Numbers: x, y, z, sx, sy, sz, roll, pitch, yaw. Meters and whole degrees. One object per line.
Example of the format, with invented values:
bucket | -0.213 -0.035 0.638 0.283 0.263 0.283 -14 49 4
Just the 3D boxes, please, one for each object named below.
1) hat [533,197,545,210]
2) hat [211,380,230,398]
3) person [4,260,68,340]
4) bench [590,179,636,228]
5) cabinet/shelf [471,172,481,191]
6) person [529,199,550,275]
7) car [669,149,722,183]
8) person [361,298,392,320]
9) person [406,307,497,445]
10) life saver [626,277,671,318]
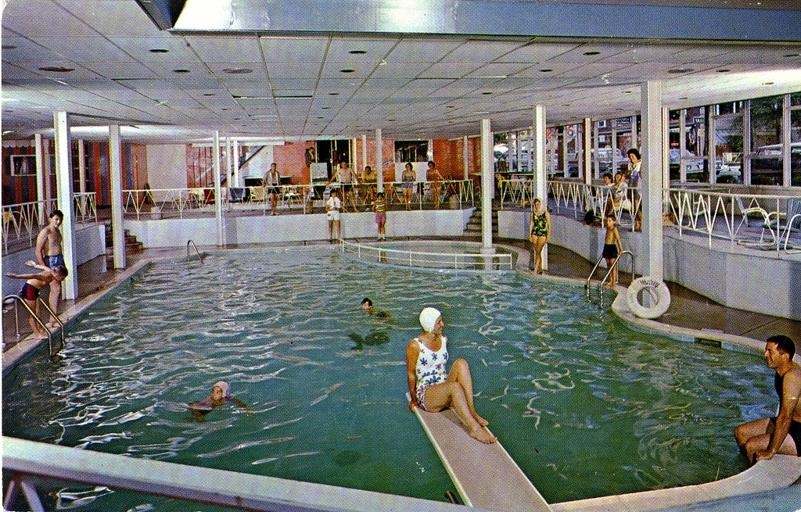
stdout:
hat | 3.401 -1.277 12.893 0.254 0.304 0.361 4 9 13
hat | -2.395 1.812 7.014 0.163 0.166 0.189 0 -24 7
person | -6.658 0.858 9.609 0.980 1.174 1.195 -2 13 -7
bench | 5.521 -1.613 14.247 0.573 1.293 0.704 6 -7 4
cabinet/shelf | 4.135 -4.090 28.977 0.335 0.894 1.294 2 9 -2
person | 3.399 -0.512 12.866 0.438 1.808 0.641 4 9 13
car | 9.628 -3.086 17.556 1.215 0.683 2.189 -3 5 -11
person | -0.447 1.023 10.206 0.482 0.301 0.744 -4 10 -33
person | 0.490 1.205 5.581 1.040 1.322 0.409 8 11 32
life saver | 4.335 0.696 9.332 0.611 0.639 1.123 4 9 14
